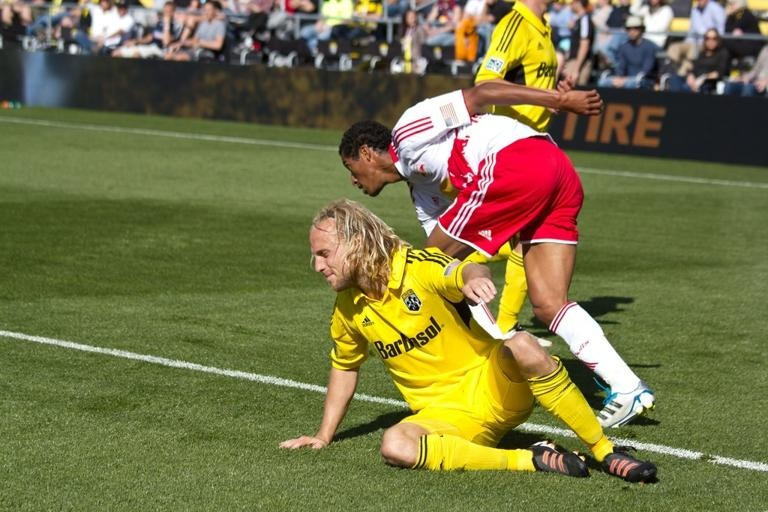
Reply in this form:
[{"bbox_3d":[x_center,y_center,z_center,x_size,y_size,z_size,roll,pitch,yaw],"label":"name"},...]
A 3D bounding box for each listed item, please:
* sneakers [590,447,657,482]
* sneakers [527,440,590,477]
[{"bbox_3d":[1.756,1.508,8.698,0.208,0.234,0.513,12,-9,-30],"label":"sneakers"},{"bbox_3d":[1.259,1.475,8.727,0.504,0.178,0.220,11,-28,19],"label":"sneakers"}]
